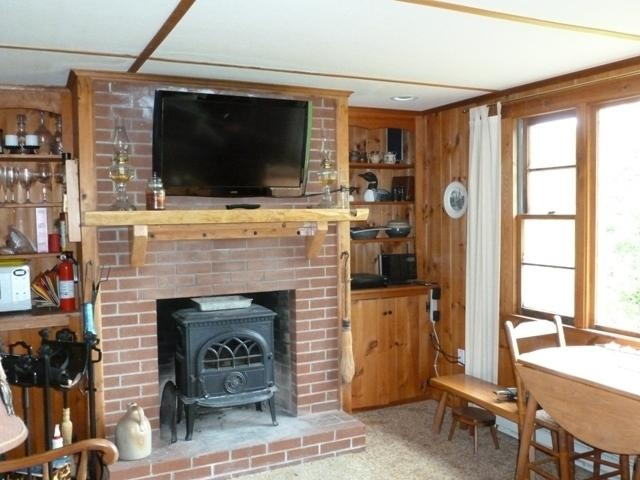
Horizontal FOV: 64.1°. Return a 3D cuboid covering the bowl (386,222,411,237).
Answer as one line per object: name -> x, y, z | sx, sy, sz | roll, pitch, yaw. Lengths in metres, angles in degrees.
bowl -> 0.769, -0.111, 5.105 | 0.199, 0.097, 0.167 | 0, 0, -9

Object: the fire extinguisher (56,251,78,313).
fire extinguisher -> -1.875, 0.302, 3.747 | 0.120, 0.423, 0.198 | -6, 4, -27

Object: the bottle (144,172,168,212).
bottle -> -1.139, -0.321, 3.482 | 0.107, 0.221, 0.078 | -2, 4, 24

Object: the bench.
bench -> 1.372, 1.434, 4.168 | 0.427, 0.481, 1.129 | -9, 2, -23

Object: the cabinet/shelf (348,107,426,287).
cabinet/shelf -> 0.621, -0.418, 5.115 | 0.854, 1.710, 0.437 | -6, 5, -37

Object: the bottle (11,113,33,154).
bottle -> -2.216, -0.796, 3.775 | 0.120, 0.301, 0.181 | -6, 4, -30

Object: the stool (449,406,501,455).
stool -> 1.298, 1.514, 4.203 | 0.340, 0.248, 0.384 | 2, -2, -33

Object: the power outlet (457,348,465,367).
power outlet -> 1.328, 1.094, 4.802 | 0.031, 0.169, 0.104 | -5, 4, -16

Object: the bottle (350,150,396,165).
bottle -> 0.514, -0.813, 5.051 | 0.531, 0.117, 0.162 | -1, 10, -17

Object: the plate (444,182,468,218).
plate -> 1.273, -0.387, 4.796 | 0.082, 0.366, 0.277 | -5, 4, -22

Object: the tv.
tv -> -0.692, -0.712, 3.715 | 1.112, 0.633, 0.070 | -1, 24, -18
